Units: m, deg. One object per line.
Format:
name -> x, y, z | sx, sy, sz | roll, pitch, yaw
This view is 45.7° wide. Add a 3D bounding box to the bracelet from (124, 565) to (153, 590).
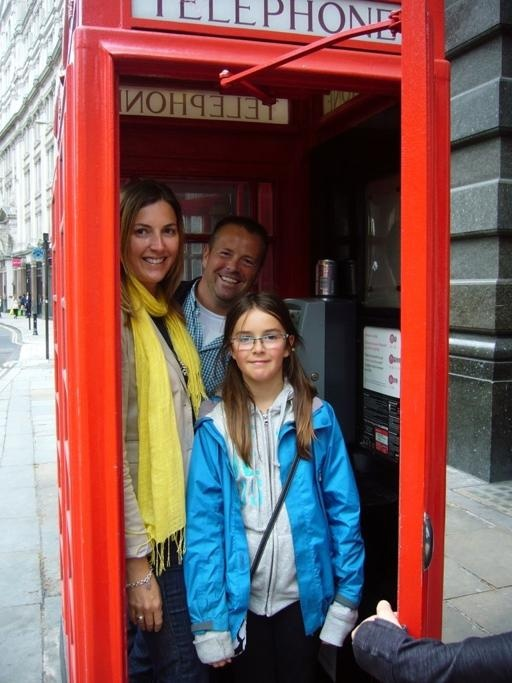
bracelet -> -0.310, 0.639, 1.630 | 0.068, 0.057, 0.043 | -3, 5, -17
